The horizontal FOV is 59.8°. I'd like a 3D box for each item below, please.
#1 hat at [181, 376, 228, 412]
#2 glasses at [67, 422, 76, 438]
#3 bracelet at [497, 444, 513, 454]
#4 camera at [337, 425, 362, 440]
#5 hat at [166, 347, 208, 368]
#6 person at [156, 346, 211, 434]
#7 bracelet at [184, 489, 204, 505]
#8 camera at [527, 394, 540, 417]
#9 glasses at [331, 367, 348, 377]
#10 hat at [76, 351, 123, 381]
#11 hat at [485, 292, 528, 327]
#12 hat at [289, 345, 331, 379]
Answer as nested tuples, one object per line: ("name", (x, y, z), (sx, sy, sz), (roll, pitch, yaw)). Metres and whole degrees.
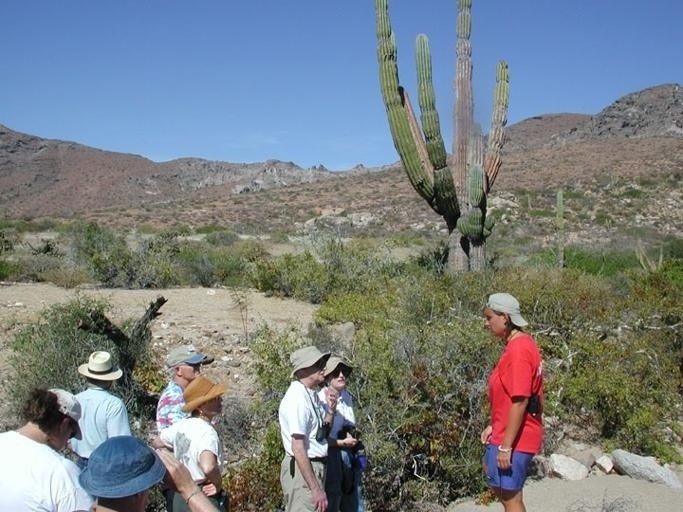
("hat", (-1.379, 1.404, 5.895), (0.419, 0.181, 0.422), (-14, -23, 4))
("glasses", (-2.472, 1.597, 5.473), (0.090, 0.137, 0.108), (10, -3, -24))
("bracelet", (1.624, 1.910, 5.871), (0.116, 0.059, 0.052), (1, 6, 21))
("camera", (0.085, 1.946, 6.474), (0.182, 0.093, 0.148), (-16, -40, 34))
("hat", (-1.656, 1.078, 6.389), (0.331, 0.168, 0.235), (1, 0, 0))
("person", (-1.669, 1.554, 6.409), (0.526, 1.160, 0.633), (-4, -5, -7))
("bracelet", (-1.341, 2.217, 5.379), (0.126, 0.038, 0.131), (-41, -11, 19))
("camera", (1.922, 1.485, 5.896), (0.154, 0.214, 0.044), (-4, 7, -26))
("glasses", (-0.009, 1.255, 6.454), (0.107, 0.132, 0.037), (4, -11, -26))
("hat", (-2.487, 1.136, 6.204), (0.315, 0.164, 0.386), (7, 3, -8))
("hat", (1.744, 0.563, 6.213), (0.490, 0.313, 0.347), (12, -6, 36))
("hat", (-0.337, 1.124, 6.299), (0.353, 0.148, 0.284), (-35, -14, 3))
